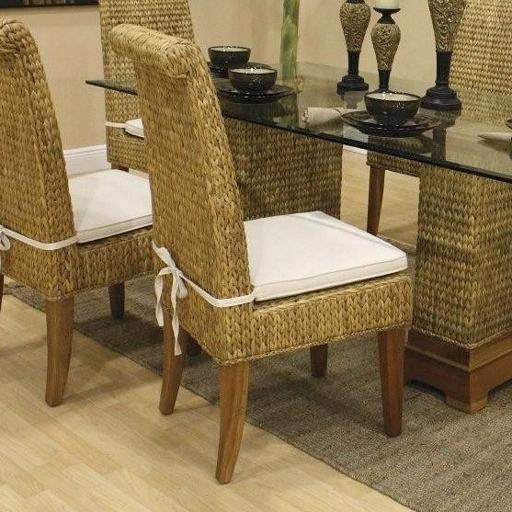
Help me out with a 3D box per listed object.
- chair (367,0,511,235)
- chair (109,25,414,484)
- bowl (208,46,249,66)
[{"bbox_3d":[0.658,-0.578,2.542,0.516,1.126,0.583,0,26,2],"label":"chair"},{"bbox_3d":[0.036,-0.038,1.247,0.501,0.866,0.424,-8,23,-14],"label":"chair"},{"bbox_3d":[-0.088,-0.702,1.982,0.106,0.049,0.109,2,23,-1],"label":"bowl"}]
